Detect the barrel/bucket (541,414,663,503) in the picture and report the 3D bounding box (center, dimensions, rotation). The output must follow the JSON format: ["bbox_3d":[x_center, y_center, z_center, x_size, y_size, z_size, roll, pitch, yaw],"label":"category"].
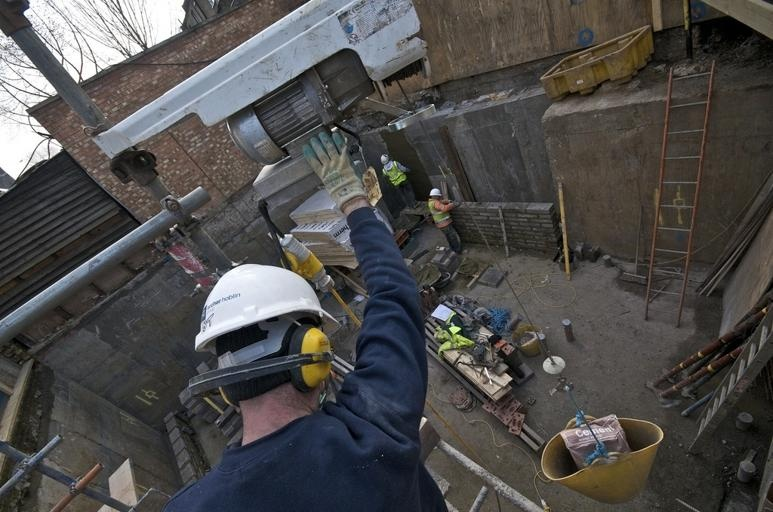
[{"bbox_3d":[2.892,2.828,6.893,1.527,1.279,0.574,-22,27,2],"label":"barrel/bucket"}]

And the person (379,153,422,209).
[{"bbox_3d":[0.374,-1.986,13.810,0.554,1.563,0.532,-23,17,29],"label":"person"}]

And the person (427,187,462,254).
[{"bbox_3d":[1.490,-0.849,12.379,0.656,1.604,0.582,-25,21,-2],"label":"person"}]

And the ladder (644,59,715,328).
[{"bbox_3d":[5.016,-1.160,9.008,1.086,3.795,2.259,8,40,46],"label":"ladder"}]
